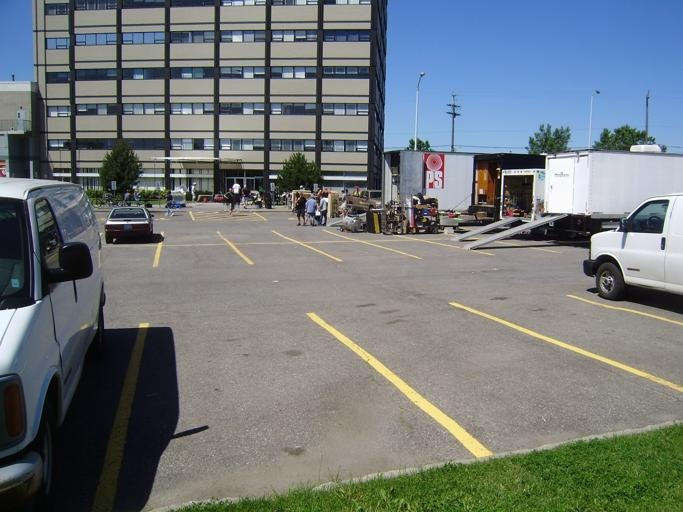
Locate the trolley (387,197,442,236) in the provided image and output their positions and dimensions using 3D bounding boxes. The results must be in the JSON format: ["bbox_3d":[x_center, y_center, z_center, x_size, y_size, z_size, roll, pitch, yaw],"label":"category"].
[{"bbox_3d":[3.196,-1.857,26.549,1.239,1.426,2.283,-2,10,-16],"label":"trolley"}]

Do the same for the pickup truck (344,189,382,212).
[{"bbox_3d":[1.341,-3.438,35.967,1.380,1.251,2.590,-5,7,-30],"label":"pickup truck"}]

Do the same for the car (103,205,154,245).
[{"bbox_3d":[-8.287,-1.221,23.009,1.704,1.320,1.683,-3,7,-23],"label":"car"}]

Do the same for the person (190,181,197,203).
[{"bbox_3d":[-15.151,-6.531,60.647,0.550,1.654,3.273,-1,7,-14],"label":"person"}]
